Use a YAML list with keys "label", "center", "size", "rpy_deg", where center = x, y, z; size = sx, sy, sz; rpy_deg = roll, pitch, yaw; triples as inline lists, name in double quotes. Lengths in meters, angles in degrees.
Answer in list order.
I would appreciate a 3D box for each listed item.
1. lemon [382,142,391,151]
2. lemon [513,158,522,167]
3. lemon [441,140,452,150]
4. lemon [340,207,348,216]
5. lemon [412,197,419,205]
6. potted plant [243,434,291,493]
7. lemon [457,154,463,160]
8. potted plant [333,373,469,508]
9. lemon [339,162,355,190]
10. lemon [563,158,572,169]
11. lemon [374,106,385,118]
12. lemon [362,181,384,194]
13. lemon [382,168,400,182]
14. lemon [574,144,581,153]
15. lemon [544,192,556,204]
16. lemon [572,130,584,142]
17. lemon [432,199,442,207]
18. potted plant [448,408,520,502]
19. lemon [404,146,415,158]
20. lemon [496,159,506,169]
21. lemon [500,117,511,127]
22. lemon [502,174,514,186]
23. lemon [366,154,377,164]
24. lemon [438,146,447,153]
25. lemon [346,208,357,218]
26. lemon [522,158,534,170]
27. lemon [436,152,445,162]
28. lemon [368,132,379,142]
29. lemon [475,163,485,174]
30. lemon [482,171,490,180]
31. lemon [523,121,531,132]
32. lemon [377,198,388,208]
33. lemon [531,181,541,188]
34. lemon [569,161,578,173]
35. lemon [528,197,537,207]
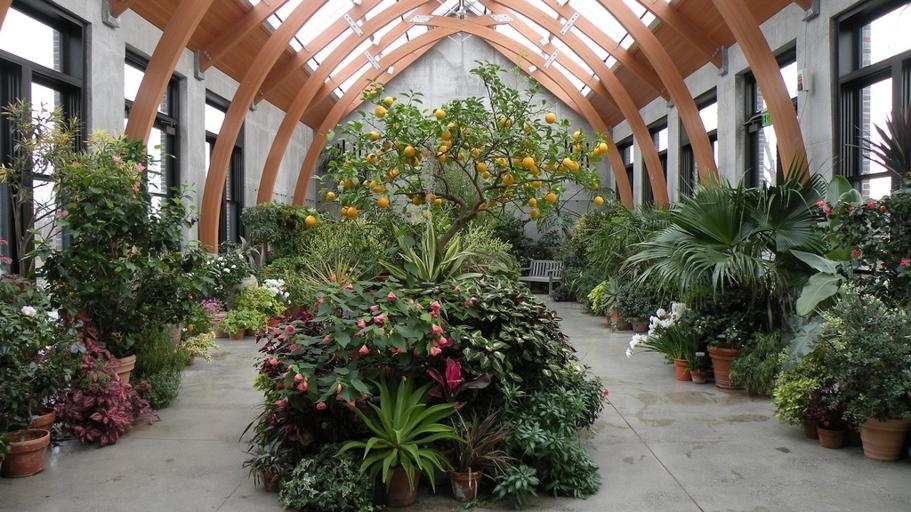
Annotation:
- label: "lemon"
  center: [-0.693, -1.093, 5.302]
  size: [0.073, 0.082, 0.072]
  rpy_deg: [4, -6, -8]
- label: "lemon"
  center: [0.617, -0.947, 5.370]
  size: [0.078, 0.081, 0.120]
  rpy_deg: [1, 13, 3]
- label: "lemon"
  center: [-0.091, -1.091, 5.174]
  size: [0.082, 0.096, 0.082]
  rpy_deg: [5, 13, 18]
- label: "lemon"
  center: [-1.098, -0.445, 5.269]
  size: [0.092, 0.108, 0.091]
  rpy_deg: [0, 2, 5]
- label: "lemon"
  center: [-0.430, -0.583, 5.531]
  size: [0.078, 0.089, 0.078]
  rpy_deg: [13, 11, 10]
- label: "potted plant"
  center: [-1.825, 1.933, 4.963]
  size: [0.301, 0.258, 0.305]
  rpy_deg: [-7, -34, 25]
- label: "lemon"
  center: [0.044, -0.993, 5.289]
  size: [0.060, 0.058, 0.059]
  rpy_deg: [2, 44, 13]
- label: "potted plant"
  center: [-0.512, 1.673, 5.034]
  size: [1.084, 0.935, 1.082]
  rpy_deg: [1, -12, -3]
- label: "lemon"
  center: [-1.069, -0.806, 5.309]
  size: [0.121, 0.244, 0.146]
  rpy_deg: [-7, 3, 38]
- label: "lemon"
  center: [1.079, -0.901, 5.132]
  size: [0.092, 0.106, 0.089]
  rpy_deg: [-5, 22, 13]
- label: "lemon"
  center: [-0.718, -1.389, 5.101]
  size: [0.122, 0.111, 0.280]
  rpy_deg: [-2, 13, -7]
- label: "lemon"
  center: [-0.796, -0.666, 5.302]
  size: [0.158, 0.085, 0.160]
  rpy_deg: [4, 1, 27]
- label: "lemon"
  center: [-0.638, -0.819, 5.317]
  size: [0.146, 0.060, 0.141]
  rpy_deg: [-28, -3, 28]
- label: "lemon"
  center: [1.175, -1.058, 5.198]
  size: [0.060, 0.069, 0.060]
  rpy_deg: [24, 28, 13]
- label: "lemon"
  center: [0.941, -0.575, 5.260]
  size: [0.104, 0.102, 0.099]
  rpy_deg: [14, 7, -24]
- label: "lemon"
  center: [1.159, -1.160, 5.096]
  size: [0.108, 0.071, 0.125]
  rpy_deg: [-24, 28, 17]
- label: "lemon"
  center: [-0.197, -0.559, 5.528]
  size: [0.083, 0.054, 0.083]
  rpy_deg: [5, 3, 13]
- label: "potted plant"
  center: [0.253, 1.861, 4.822]
  size: [0.761, 0.630, 0.503]
  rpy_deg: [1, -12, 12]
- label: "lemon"
  center: [-0.451, -1.024, 5.209]
  size: [0.105, 0.120, 0.105]
  rpy_deg: [4, 12, 17]
- label: "lemon"
  center: [0.460, -0.956, 5.505]
  size: [0.094, 0.094, 0.094]
  rpy_deg: [12, 36, 12]
- label: "lemon"
  center: [0.482, -1.357, 5.411]
  size: [0.108, 0.108, 0.104]
  rpy_deg: [5, 21, 26]
- label: "lemon"
  center: [0.527, -0.763, 5.386]
  size: [0.113, 0.110, 0.111]
  rpy_deg: [17, -14, -38]
- label: "lemon"
  center: [-0.828, -0.967, 5.318]
  size: [0.083, 0.096, 0.084]
  rpy_deg: [31, 58, 34]
- label: "lemon"
  center: [-0.128, -1.044, 5.188]
  size: [0.070, 0.082, 0.070]
  rpy_deg: [8, 13, 14]
- label: "lemon"
  center: [-1.020, -0.428, 5.228]
  size: [0.110, 0.093, 0.170]
  rpy_deg: [-3, 13, -14]
- label: "lemon"
  center: [0.714, -0.896, 5.168]
  size: [0.143, 0.127, 0.123]
  rpy_deg: [-3, 13, -14]
- label: "lemon"
  center: [-0.142, -0.976, 5.236]
  size: [0.071, 0.083, 0.068]
  rpy_deg: [-23, 38, -28]
- label: "lemon"
  center: [-0.815, -1.164, 5.178]
  size: [0.100, 0.115, 0.099]
  rpy_deg: [-1, 22, 2]
- label: "lemon"
  center: [0.236, -0.867, 5.219]
  size: [0.075, 0.073, 0.087]
  rpy_deg: [-35, -25, -7]
- label: "lemon"
  center: [0.302, -0.809, 5.289]
  size: [0.090, 0.089, 0.089]
  rpy_deg: [-1, 14, -3]
- label: "lemon"
  center: [0.725, -1.314, 5.441]
  size: [0.084, 0.076, 0.265]
  rpy_deg: [1, 12, 6]
- label: "lemon"
  center: [-0.703, -0.530, 5.208]
  size: [0.096, 0.096, 0.096]
  rpy_deg: [1, 20, 16]
- label: "lemon"
  center: [0.824, -0.740, 5.466]
  size: [0.062, 0.061, 0.061]
  rpy_deg: [2, 16, 7]
- label: "lemon"
  center: [1.125, -0.867, 5.131]
  size: [0.088, 0.084, 0.088]
  rpy_deg: [3, 11, 6]
- label: "lemon"
  center: [0.773, -0.552, 5.422]
  size: [0.083, 0.080, 0.082]
  rpy_deg: [-6, 1, 7]
